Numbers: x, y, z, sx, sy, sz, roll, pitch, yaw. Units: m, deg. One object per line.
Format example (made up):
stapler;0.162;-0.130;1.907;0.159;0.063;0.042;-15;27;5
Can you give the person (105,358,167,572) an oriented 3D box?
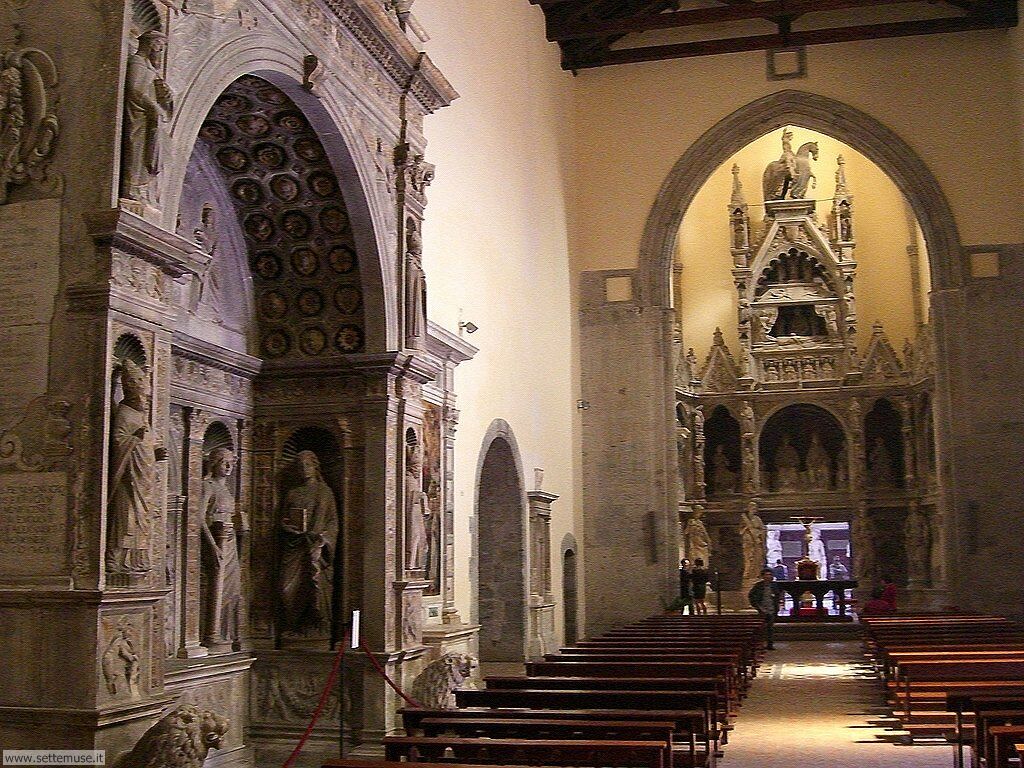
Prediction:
person;-3.069;0.696;12.731;0.345;1.745;0.486;-13;-16;38

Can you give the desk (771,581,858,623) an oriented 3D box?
desk;5.843;4.187;30.464;1.335;0.501;1.656;-2;-7;16

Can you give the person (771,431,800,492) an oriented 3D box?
person;5.712;1.617;32.522;0.487;1.174;0.290;-4;-13;7

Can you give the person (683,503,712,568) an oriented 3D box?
person;3.764;3.013;31.608;0.416;1.164;0.767;-12;-15;36

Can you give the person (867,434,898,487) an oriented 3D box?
person;7.485;1.570;31.547;0.618;1.020;0.243;-4;-13;8

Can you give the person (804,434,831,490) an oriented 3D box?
person;6.346;1.599;32.351;0.483;1.170;0.454;1;-13;-16

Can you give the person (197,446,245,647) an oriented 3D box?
person;-3.007;1.700;16.057;0.408;2.004;0.763;-1;-12;-10

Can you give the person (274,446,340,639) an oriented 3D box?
person;-2.191;1.707;16.379;0.732;1.967;0.438;-3;-12;4

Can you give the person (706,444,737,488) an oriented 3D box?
person;4.365;1.753;32.690;0.608;1.010;0.291;-3;-12;5

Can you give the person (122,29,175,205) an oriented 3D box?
person;-3.051;-2.236;12.995;0.413;1.508;0.227;3;-14;-24

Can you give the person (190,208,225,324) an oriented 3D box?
person;-3.167;-1.274;15.988;0.245;1.154;0.585;-1;-12;-7

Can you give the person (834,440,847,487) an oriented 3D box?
person;6.749;1.666;32.204;0.304;0.928;0.658;-5;-12;11

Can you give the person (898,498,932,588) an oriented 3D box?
person;7.880;3.100;30.090;0.426;1.715;0.766;2;-13;-18

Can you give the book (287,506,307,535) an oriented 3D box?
book;-2.259;1.430;16.299;0.191;0.261;0.321;-3;-3;-33
